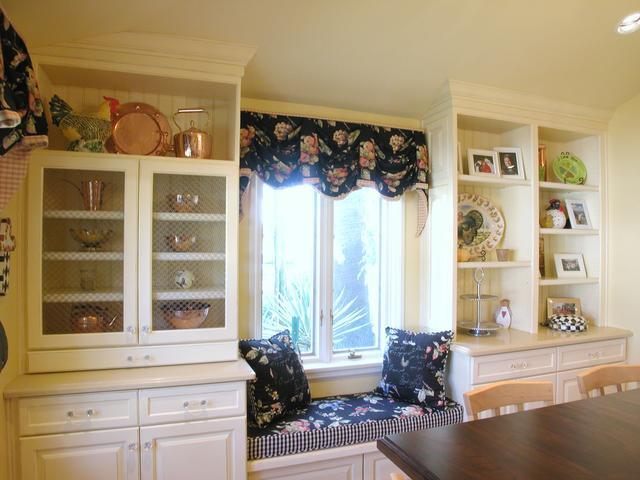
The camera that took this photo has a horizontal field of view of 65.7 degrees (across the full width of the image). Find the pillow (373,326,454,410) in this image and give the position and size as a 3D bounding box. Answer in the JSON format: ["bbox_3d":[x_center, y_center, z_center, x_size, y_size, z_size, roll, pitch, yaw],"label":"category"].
[{"bbox_3d":[0.677,0.923,3.499,0.436,0.450,0.167,6,-14,31],"label":"pillow"}]

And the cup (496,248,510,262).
[{"bbox_3d":[1.482,0.121,3.970,0.105,0.085,0.103,1,-1,0],"label":"cup"}]

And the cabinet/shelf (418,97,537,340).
[{"bbox_3d":[1.307,-0.184,3.893,0.938,1.853,0.540,-1,-3,-26],"label":"cabinet/shelf"}]

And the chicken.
[{"bbox_3d":[-1.436,-0.690,3.003,0.392,0.378,0.191,-1,5,-26],"label":"chicken"}]

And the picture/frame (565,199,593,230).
[{"bbox_3d":[2.203,-0.207,4.205,0.244,0.341,0.026,6,-26,-17],"label":"picture/frame"}]

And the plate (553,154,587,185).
[{"bbox_3d":[2.130,-0.602,4.223,0.264,0.282,0.117,7,-16,-1],"label":"plate"}]

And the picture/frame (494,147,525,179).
[{"bbox_3d":[1.501,-0.601,3.920,0.250,0.328,0.025,-1,-9,1],"label":"picture/frame"}]

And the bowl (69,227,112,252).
[{"bbox_3d":[-1.361,-0.004,2.924,0.152,0.164,0.064,9,-38,-16],"label":"bowl"}]

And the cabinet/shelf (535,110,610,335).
[{"bbox_3d":[2.092,-0.037,4.264,0.497,1.732,0.439,3,-7,13],"label":"cabinet/shelf"}]

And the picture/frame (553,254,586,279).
[{"bbox_3d":[2.137,0.226,4.225,0.212,0.218,0.016,2,-30,-3],"label":"picture/frame"}]

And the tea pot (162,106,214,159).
[{"bbox_3d":[-0.820,-0.665,3.177,0.235,0.328,0.252,-1,4,0],"label":"tea pot"}]
